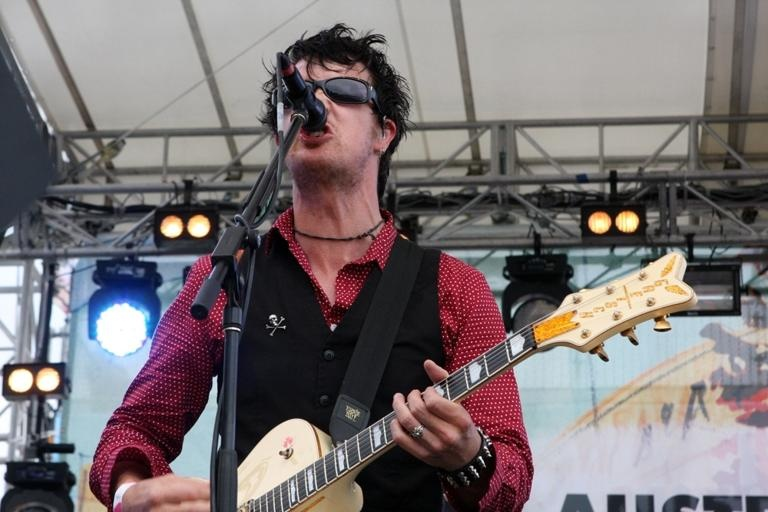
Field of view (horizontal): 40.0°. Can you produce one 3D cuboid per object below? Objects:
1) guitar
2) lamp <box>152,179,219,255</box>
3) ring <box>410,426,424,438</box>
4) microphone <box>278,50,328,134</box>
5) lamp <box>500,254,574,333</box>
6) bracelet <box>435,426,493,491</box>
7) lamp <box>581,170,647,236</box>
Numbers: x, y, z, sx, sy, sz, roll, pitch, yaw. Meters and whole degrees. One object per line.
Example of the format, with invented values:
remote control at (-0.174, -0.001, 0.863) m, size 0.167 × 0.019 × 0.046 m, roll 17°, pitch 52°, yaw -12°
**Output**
guitar at (0.762, 1.038, 8.208) m, size 3.100 × 1.190 × 0.529 m, roll -33°, pitch -24°, yaw 4°
lamp at (-2.141, -0.490, 11.360) m, size 0.630 × 0.688 × 0.424 m, roll -2°, pitch 16°, yaw -16°
ring at (0.201, 1.066, 6.373) m, size 0.082 × 0.069 × 0.036 m, roll -5°, pitch -22°, yaw 11°
microphone at (-0.495, -1.006, 6.700) m, size 0.272 × 0.207 × 0.522 m, roll 5°, pitch -44°, yaw 24°
lamp at (1.782, 0.534, 12.262) m, size 0.818 × 1.124 × 0.624 m, roll -2°, pitch 11°, yaw 3°
bracelet at (0.541, 1.285, 6.487) m, size 0.135 × 0.348 × 0.325 m, roll 41°, pitch -15°, yaw -14°
lamp at (2.471, -0.549, 11.331) m, size 0.708 × 0.738 × 0.253 m, roll 0°, pitch -2°, yaw 7°
